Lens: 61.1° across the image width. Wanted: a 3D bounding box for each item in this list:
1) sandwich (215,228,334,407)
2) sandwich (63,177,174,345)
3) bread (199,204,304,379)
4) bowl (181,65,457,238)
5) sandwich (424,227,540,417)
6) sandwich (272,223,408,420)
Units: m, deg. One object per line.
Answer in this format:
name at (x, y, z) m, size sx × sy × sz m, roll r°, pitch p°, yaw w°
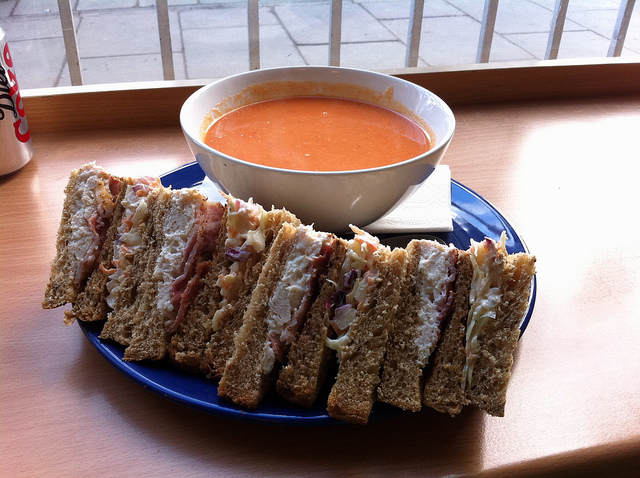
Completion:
sandwich at (-0.112, 0.244, 1.438) m, size 0.198 × 0.159 × 0.631 m, roll 8°, pitch 29°, yaw 1°
sandwich at (-0.533, 0.057, 1.477) m, size 0.264 × 0.418 × 0.327 m, roll 15°, pitch 27°, yaw 34°
bread at (-0.184, 0.130, 1.473) m, size 0.403 × 0.366 × 0.274 m, roll 17°, pitch 31°, yaw 19°
bowl at (-0.027, -0.294, 1.768) m, size 0.803 × 0.443 × 0.733 m, roll 5°, pitch 25°, yaw -3°
sandwich at (0.386, 0.219, 1.417) m, size 0.268 × 0.456 × 0.180 m, roll 13°, pitch -6°, yaw 3°
sandwich at (0.041, 0.198, 1.308) m, size 0.248 × 0.391 × 0.306 m, roll 13°, pitch 26°, yaw 12°
